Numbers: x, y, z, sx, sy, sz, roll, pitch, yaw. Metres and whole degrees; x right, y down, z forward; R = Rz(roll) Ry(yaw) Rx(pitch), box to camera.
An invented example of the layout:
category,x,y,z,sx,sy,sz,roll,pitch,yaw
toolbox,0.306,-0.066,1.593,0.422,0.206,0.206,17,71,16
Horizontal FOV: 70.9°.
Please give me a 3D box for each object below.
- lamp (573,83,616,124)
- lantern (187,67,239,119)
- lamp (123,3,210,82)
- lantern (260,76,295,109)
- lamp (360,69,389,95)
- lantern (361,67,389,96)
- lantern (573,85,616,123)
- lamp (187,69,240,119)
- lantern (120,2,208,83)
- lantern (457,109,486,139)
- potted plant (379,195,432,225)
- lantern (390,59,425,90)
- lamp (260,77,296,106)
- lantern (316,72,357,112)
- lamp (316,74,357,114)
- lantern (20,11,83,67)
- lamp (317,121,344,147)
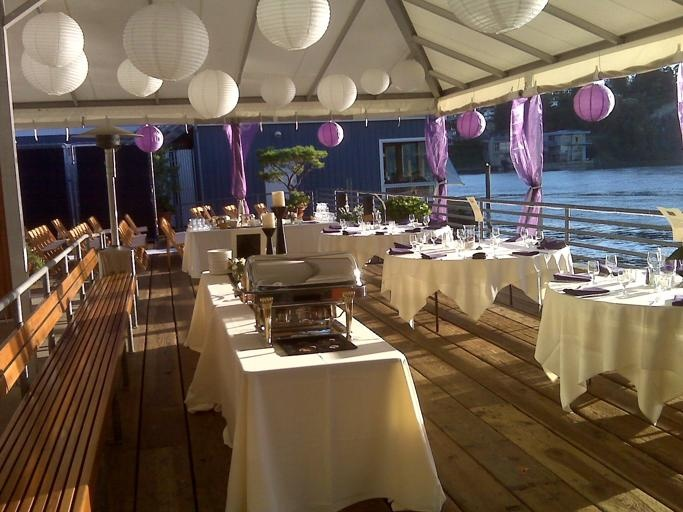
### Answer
category,x,y,z,sx,sy,sz,roll,pitch,yaw
lamp,3.453,-2.017,6.534,0.541,0.696,0.580,3,17,15
lantern,-1.437,-1.782,5.323,0.494,0.597,0.494,-3,9,-41
lamp,-1.238,-1.528,3.656,0.573,0.707,0.539,1,5,0
lantern,-0.962,-2.441,7.348,0.423,0.467,0.438,0,5,10
lamp,0.506,-2.686,7.295,0.380,0.360,0.239,1,11,14
lantern,0.532,-2.696,7.444,0.374,0.288,0.476,1,36,10
lantern,3.357,-2.073,6.384,0.466,0.487,0.392,3,12,25
lamp,-1.397,-1.765,5.340,0.475,0.592,0.506,-1,7,24
lantern,-1.224,-1.517,3.589,0.570,0.705,0.538,1,5,0
lantern,2.436,-2.538,9.077,0.461,0.520,0.928,1,11,14
potted plant,0.919,-0.639,6.610,0.449,0.352,0.555,-11,14,-40
lantern,0.956,-2.679,7.021,0.454,0.431,0.316,-2,10,2
lamp,-0.968,-2.474,7.276,0.411,0.338,0.427,2,1,-22
lantern,-0.068,-2.387,7.147,0.499,0.595,0.524,3,12,28
lamp,-0.083,-2.447,7.079,0.497,0.595,0.532,-6,23,-11
lantern,-2.535,-1.892,4.276,0.426,0.533,0.464,16,25,27
lamp,-0.225,-2.523,9.800,0.430,0.479,0.611,0,11,9
